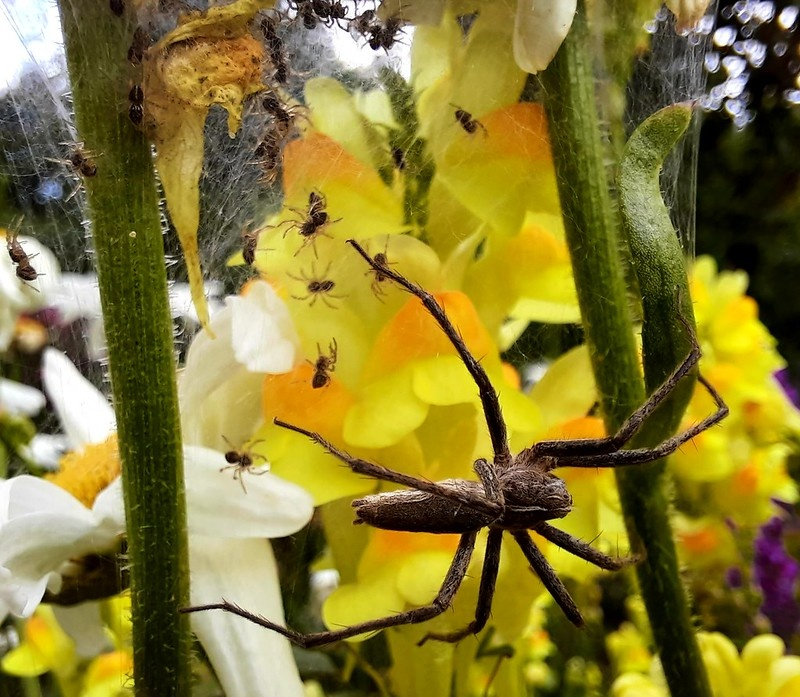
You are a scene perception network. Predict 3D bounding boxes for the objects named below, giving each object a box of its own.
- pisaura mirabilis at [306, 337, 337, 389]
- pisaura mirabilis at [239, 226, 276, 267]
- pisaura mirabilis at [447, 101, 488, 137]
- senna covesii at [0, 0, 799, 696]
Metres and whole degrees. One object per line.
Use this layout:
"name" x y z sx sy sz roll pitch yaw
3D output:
"pisaura mirabilis" -0.073 0.014 0.980 0.021 0.038 0.010 1 -23 24
"pisaura mirabilis" -0.137 -0.099 1.030 0.026 0.040 0.011 0 -16 39
"pisaura mirabilis" 0.063 -0.214 0.998 0.022 0.031 0.009 -41 -7 13
"senna covesii" -0.018 0.009 1.018 0.602 0.713 0.257 2 5 -2
